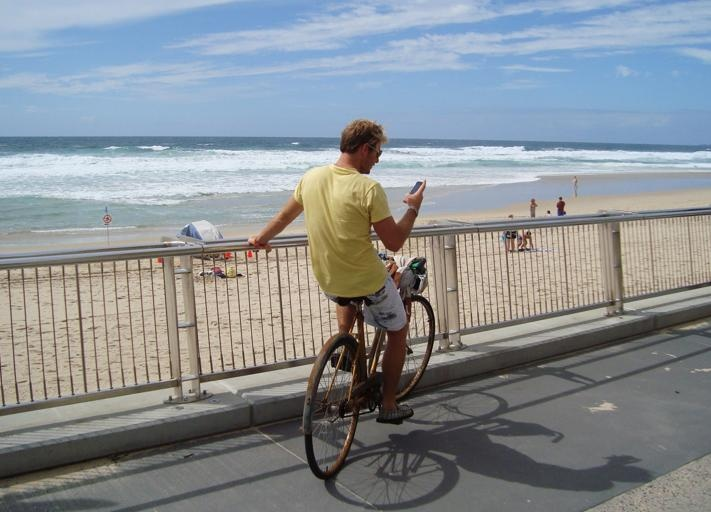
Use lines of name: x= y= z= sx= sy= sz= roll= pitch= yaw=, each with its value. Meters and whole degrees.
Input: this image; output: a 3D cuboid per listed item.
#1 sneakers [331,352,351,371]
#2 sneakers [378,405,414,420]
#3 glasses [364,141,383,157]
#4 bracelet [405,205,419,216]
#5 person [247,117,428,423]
sneakers: x=-0.139 y=0.869 z=4.557 sx=0.194 sy=0.146 sz=0.058 roll=6 pitch=-1 yaw=-39
sneakers: x=0.343 y=1.383 z=4.886 sx=0.318 sy=0.094 sz=0.123 roll=-6 pitch=6 yaw=-17
glasses: x=0.144 y=-0.867 z=4.536 sx=0.041 sy=0.107 sz=0.124 roll=-4 pitch=-6 yaw=34
bracelet: x=0.475 y=-0.373 z=4.571 sx=0.085 sy=0.038 sz=0.090 roll=10 pitch=-5 yaw=2
person: x=-0.088 y=0.231 z=4.739 sx=1.190 sy=2.712 sz=0.733 roll=1 pitch=10 yaw=29
